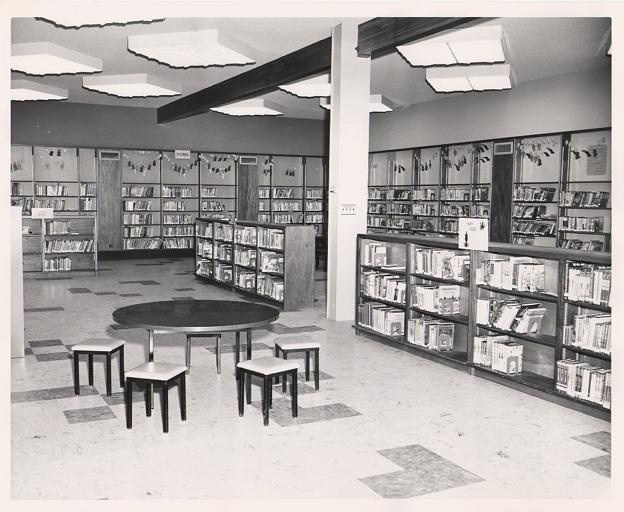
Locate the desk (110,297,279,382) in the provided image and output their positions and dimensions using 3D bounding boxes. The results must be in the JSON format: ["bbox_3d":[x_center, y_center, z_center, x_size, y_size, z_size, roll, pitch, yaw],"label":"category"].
[{"bbox_3d":[-0.946,0.871,4.784,0.833,0.374,0.814,-8,-3,6],"label":"desk"}]

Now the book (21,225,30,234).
[{"bbox_3d":[-6.707,-0.624,11.842,0.151,0.187,0.131,-1,6,-23],"label":"book"}]
